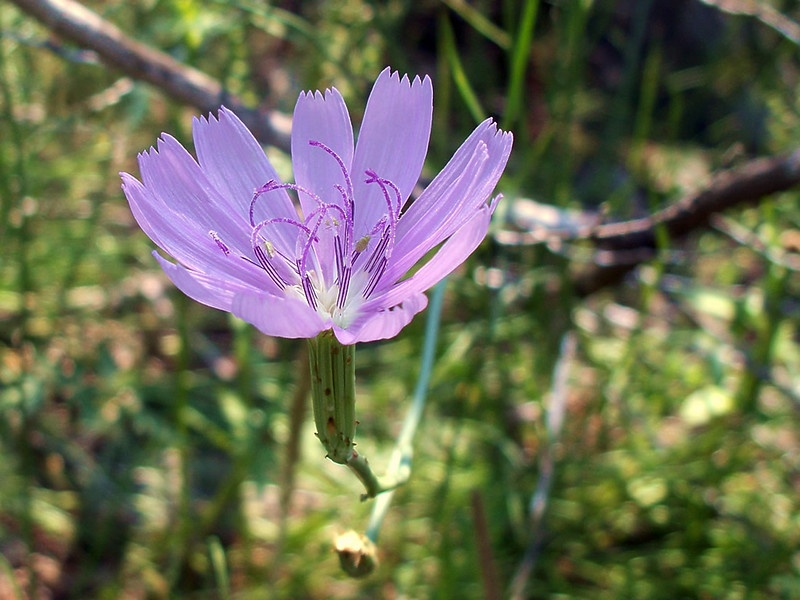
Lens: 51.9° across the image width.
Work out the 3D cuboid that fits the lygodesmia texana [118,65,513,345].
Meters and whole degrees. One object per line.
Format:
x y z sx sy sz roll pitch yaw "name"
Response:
-0.165 -0.190 1.698 0.762 0.423 0.506 5 37 6 "lygodesmia texana"
